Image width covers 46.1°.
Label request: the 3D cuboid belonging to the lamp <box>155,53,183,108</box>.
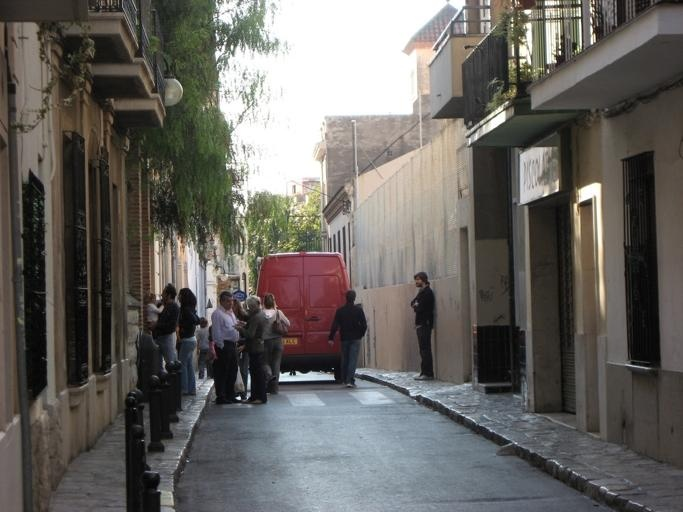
[{"bbox_3d":[-3.187,-3.268,14.613,0.387,1.020,0.442,2,4,44],"label":"lamp"}]

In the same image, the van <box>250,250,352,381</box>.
[{"bbox_3d":[-0.926,1.302,20.222,1.666,2.315,3.341,0,-3,0],"label":"van"}]

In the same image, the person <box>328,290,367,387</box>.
[{"bbox_3d":[0.168,1.996,19.362,0.829,2.327,0.706,-2,-1,43],"label":"person"}]

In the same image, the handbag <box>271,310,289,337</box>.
[{"bbox_3d":[-1.355,1.479,17.705,0.393,0.865,0.435,-5,-11,-6],"label":"handbag"}]

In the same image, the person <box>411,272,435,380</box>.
[{"bbox_3d":[1.956,1.690,19.197,0.489,2.559,0.671,-1,-1,0],"label":"person"}]

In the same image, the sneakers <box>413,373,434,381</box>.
[{"bbox_3d":[1.993,2.954,19.500,0.461,0.228,0.187,7,-6,-8],"label":"sneakers"}]
